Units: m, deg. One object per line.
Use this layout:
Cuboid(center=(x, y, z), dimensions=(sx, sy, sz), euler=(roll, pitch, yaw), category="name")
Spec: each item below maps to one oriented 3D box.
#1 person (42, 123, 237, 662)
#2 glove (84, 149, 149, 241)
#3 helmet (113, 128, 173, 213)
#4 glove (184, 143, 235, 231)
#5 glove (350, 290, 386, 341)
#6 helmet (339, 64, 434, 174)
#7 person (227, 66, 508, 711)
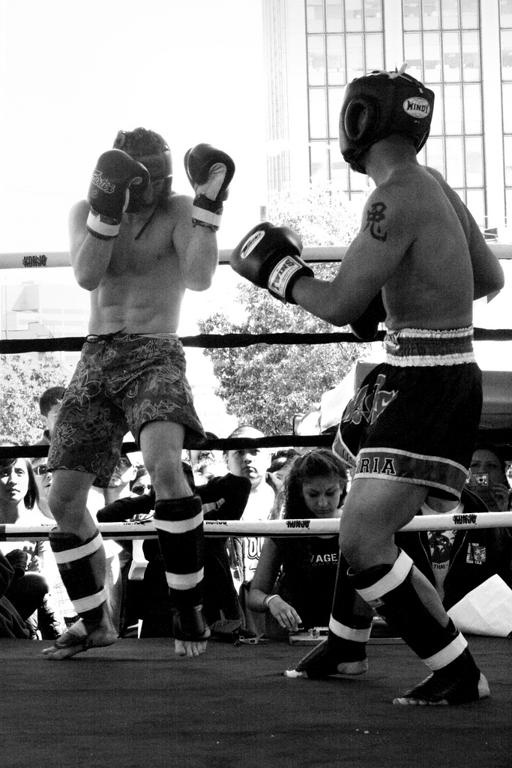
Cuboid(center=(-0.284, 0.031, 2.604), dimensions=(0.408, 1.285, 0.426), euler=(0, 6, 12), category="person")
Cuboid(center=(-0.316, -0.433, 2.531), dimensions=(0.123, 0.164, 0.166), euler=(20, 51, 7), category="glove")
Cuboid(center=(-0.315, -0.526, 2.740), dimensions=(0.151, 0.193, 0.196), euler=(18, -3, 0), category="helmet")
Cuboid(center=(-0.107, -0.452, 2.519), dimensions=(0.113, 0.197, 0.095), euler=(-2, 6, -4), category="glove")
Cuboid(center=(0.233, -0.142, 2.308), dimensions=(0.033, 0.090, 0.071), euler=(-10, 26, -20), category="glove")
Cuboid(center=(0.261, -0.550, 2.303), dimensions=(0.193, 0.190, 0.175), euler=(-6, -8, 43), category="helmet")
Cuboid(center=(0.302, -0.009, 2.232), dimensions=(0.469, 1.264, 0.519), euler=(-6, 8, -41), category="person")
